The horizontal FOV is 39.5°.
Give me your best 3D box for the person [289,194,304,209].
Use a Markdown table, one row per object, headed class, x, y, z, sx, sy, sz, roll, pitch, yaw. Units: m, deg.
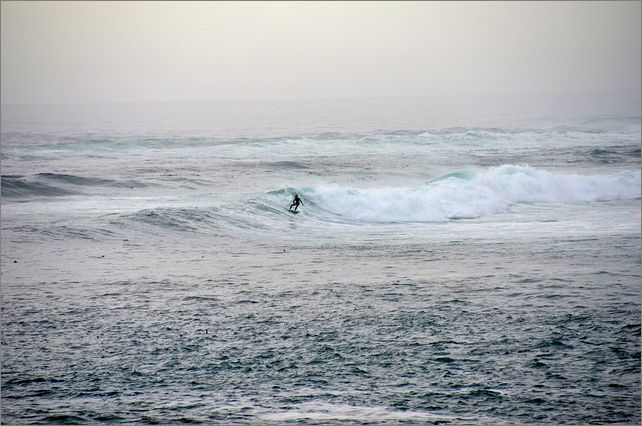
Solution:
| class | x | y | z | sx | sy | sz | roll | pitch | yaw |
| --- | --- | --- | --- | --- | --- | --- | --- | --- | --- |
| person | -0.922 | -0.452 | 34.637 | 0.562 | 0.546 | 1.146 | -1 | 8 | -2 |
